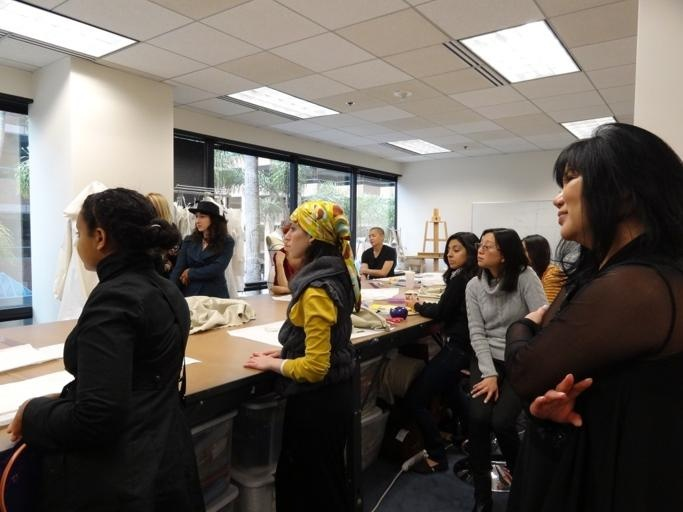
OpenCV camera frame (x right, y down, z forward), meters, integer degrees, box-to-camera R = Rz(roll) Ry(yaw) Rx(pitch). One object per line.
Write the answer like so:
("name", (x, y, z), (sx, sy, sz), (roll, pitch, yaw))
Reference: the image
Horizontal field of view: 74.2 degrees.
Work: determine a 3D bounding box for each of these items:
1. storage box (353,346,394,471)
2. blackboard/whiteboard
("storage box", (0.191, 0.932, 2.832), (0.173, 0.628, 0.475), (6, -1, 20))
("blackboard/whiteboard", (1.860, -0.292, 4.652), (0.017, 0.629, 0.819), (12, -5, -42))
